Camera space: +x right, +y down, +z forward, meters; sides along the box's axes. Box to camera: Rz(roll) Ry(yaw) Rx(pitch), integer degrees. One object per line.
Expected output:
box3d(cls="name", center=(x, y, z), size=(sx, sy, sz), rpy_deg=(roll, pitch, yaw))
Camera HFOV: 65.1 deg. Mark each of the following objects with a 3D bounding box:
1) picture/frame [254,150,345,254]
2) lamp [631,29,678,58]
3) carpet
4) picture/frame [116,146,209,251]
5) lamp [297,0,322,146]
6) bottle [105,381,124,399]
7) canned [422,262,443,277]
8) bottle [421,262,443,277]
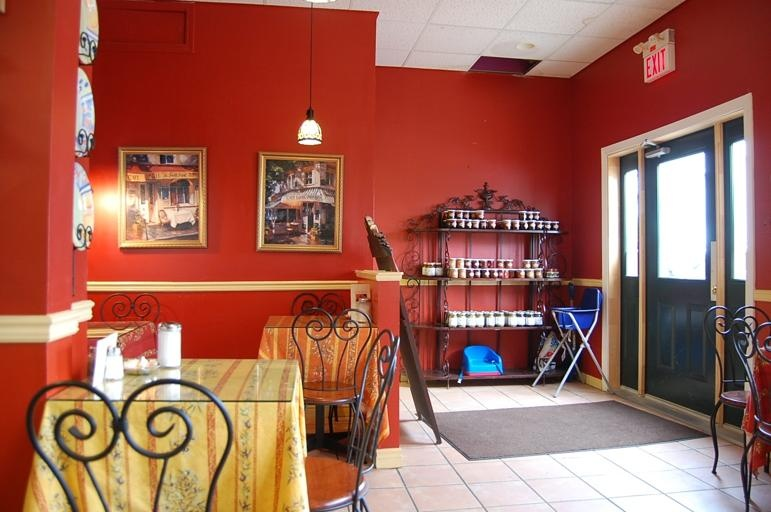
box3d(cls="picture/frame", center=(-0.885, -0.542, 5.902), size=(1.024, 1.157, 0.046), rpy_deg=(2, -3, -9))
box3d(cls="lamp", center=(2.603, -2.107, 5.938), size=(0.126, 0.217, 0.465), rpy_deg=(-5, 10, -24))
box3d(cls="carpet", center=(1.558, 1.558, 5.547), size=(2.171, 0.068, 1.059), rpy_deg=(-2, 9, -10))
box3d(cls="picture/frame", center=(-2.176, -0.552, 5.764), size=(1.029, 1.161, 0.080), rpy_deg=(0, -2, -7))
box3d(cls="lamp", center=(-0.726, -1.746, 5.647), size=(0.240, 1.363, 0.810), rpy_deg=(-2, 9, -8))
box3d(cls="bottle", center=(-1.478, 0.724, 3.291), size=(0.081, 0.089, 0.079), rpy_deg=(0, -5, -6))
box3d(cls="canned", center=(0.522, 0.142, 6.805), size=(0.173, 0.105, 0.169), rpy_deg=(1, -6, -5))
box3d(cls="bottle", center=(0.526, 0.139, 6.805), size=(0.173, 0.111, 0.169), rpy_deg=(1, -6, 0))
